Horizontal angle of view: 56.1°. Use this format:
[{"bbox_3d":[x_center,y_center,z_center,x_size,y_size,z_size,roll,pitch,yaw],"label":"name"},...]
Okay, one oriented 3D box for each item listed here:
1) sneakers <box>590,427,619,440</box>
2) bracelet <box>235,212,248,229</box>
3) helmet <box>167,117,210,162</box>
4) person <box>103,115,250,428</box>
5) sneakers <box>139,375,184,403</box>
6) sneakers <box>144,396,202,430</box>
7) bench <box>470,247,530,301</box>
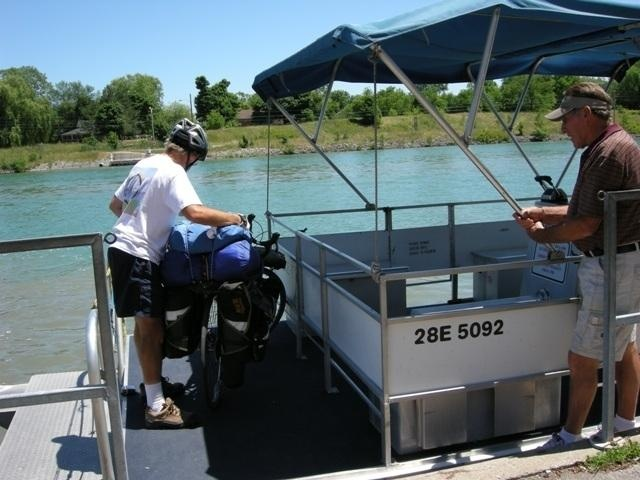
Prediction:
[{"bbox_3d":[1.785,1.202,3.753,0.081,0.082,0.144,5,-4,8],"label":"sneakers"},{"bbox_3d":[-0.571,-0.143,4.442,0.076,0.102,0.096,11,14,34],"label":"bracelet"},{"bbox_3d":[-0.990,-0.769,4.584,0.279,0.319,0.336,15,26,18],"label":"helmet"},{"bbox_3d":[-1.134,0.253,4.443,0.803,2.262,0.722,-5,9,-17],"label":"person"},{"bbox_3d":[-1.284,1.215,4.997,0.468,0.197,0.157,-5,26,-9],"label":"sneakers"},{"bbox_3d":[-1.089,1.277,4.547,0.450,0.241,0.174,0,8,-11],"label":"sneakers"},{"bbox_3d":[1.773,0.340,5.907,0.549,0.463,0.288,-6,15,-18],"label":"bench"}]
